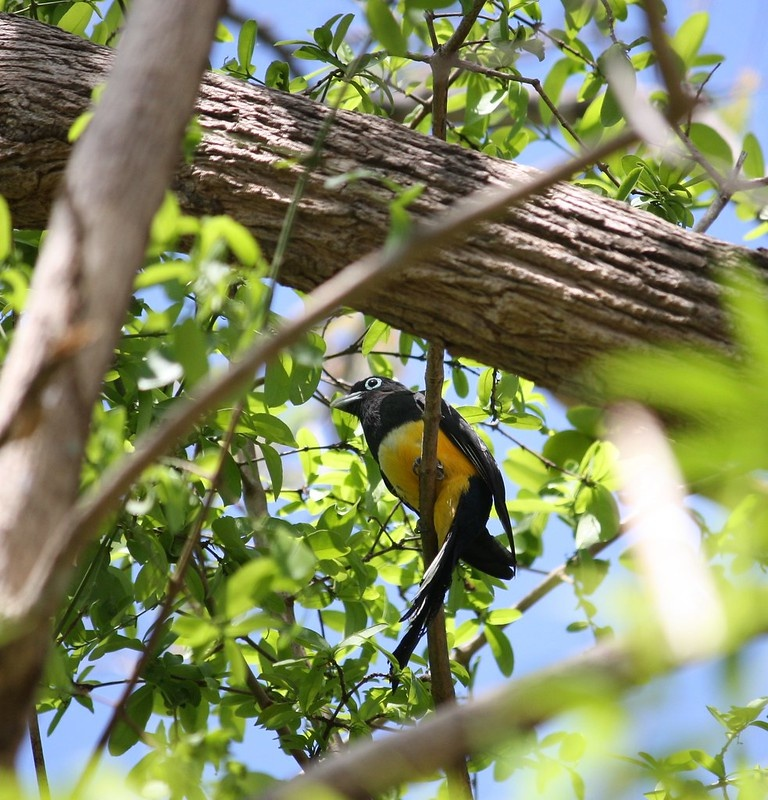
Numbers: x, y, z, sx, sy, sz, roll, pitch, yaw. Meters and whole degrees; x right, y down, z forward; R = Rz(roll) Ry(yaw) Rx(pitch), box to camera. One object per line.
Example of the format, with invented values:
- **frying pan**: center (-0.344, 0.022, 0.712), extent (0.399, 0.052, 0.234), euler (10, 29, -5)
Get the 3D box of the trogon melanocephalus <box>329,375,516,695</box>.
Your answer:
- **trogon melanocephalus**: center (0.140, 0.284, 4.297), extent (0.647, 1.210, 0.299), euler (25, -66, -10)
